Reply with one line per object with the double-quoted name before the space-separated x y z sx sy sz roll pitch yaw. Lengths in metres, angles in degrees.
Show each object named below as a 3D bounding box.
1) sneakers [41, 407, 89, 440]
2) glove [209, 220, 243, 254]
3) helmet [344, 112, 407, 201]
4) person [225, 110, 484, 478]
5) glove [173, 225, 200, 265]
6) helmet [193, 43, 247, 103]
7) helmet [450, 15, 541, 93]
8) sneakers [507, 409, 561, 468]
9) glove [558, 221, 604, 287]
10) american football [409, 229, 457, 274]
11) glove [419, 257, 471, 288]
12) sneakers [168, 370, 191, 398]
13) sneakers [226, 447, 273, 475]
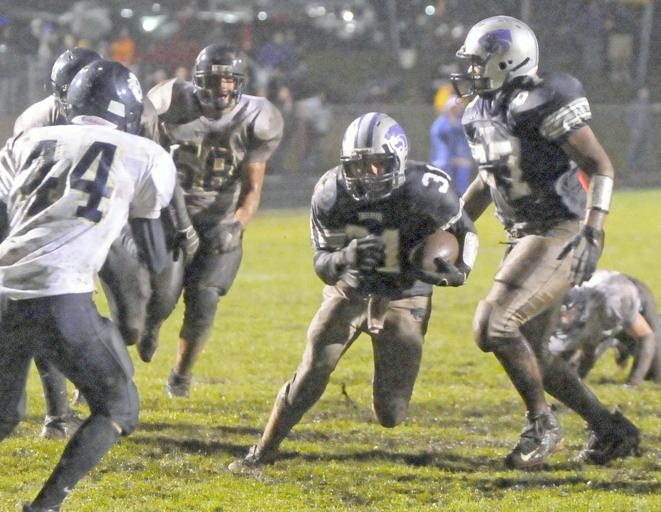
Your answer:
"sneakers" -1.386 0.868 5.910 0.147 0.095 0.247 1 -2 0
"glove" -0.588 -0.090 6.341 0.154 0.186 0.077 8 -14 23
"helmet" 0.237 -0.487 5.476 0.326 0.360 0.420 -1 24 20
"person" 0.187 0.175 5.560 1.004 1.720 0.475 3 13 5
"glove" -0.693 -0.061 5.626 0.139 0.185 0.078 2 15 34
"helmet" -0.639 -1.012 6.390 0.280 0.289 0.346 3 31 -8
"helmet" 0.878 -1.059 6.028 0.489 0.371 0.360 1 13 5
"sneakers" 1.019 0.919 5.695 0.269 0.287 0.156 -9 17 -39
"glove" 1.235 -0.004 5.620 0.205 0.296 0.115 17 3 16
"american football" 0.492 -0.022 5.375 0.153 0.208 0.173 37 31 -3
"glove" 0.533 0.078 5.419 0.226 0.172 0.191 3 13 4
"sneakers" -0.853 0.719 6.506 0.143 0.149 0.149 2 -8 4
"sneakers" -0.386 1.011 5.580 0.282 0.117 0.094 2 1 -9
